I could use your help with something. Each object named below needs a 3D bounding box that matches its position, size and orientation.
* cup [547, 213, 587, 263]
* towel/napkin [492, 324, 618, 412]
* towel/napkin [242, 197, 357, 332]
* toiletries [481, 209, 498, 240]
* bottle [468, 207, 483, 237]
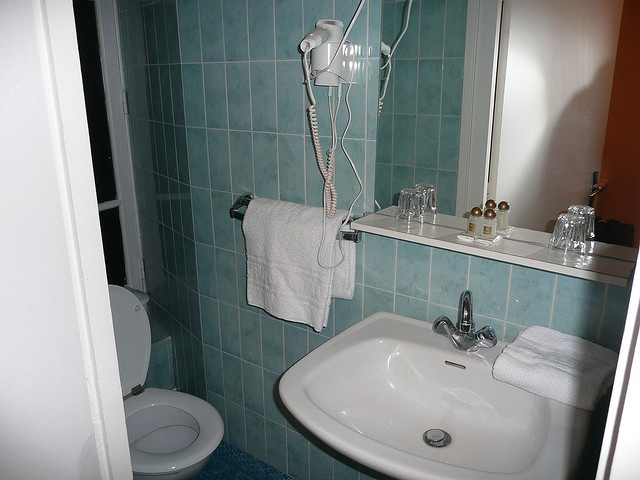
[{"bbox_3d":[0.679,-0.006,1.383,0.099,0.126,0.079,17,24,36],"label":"cup"},{"bbox_3d":[0.616,0.287,1.398,0.376,0.142,0.380,-3,8,-19],"label":"towel/napkin"},{"bbox_3d":[-0.107,0.069,1.897,0.447,0.413,0.200,11,18,27],"label":"towel/napkin"},{"bbox_3d":[0.494,-0.045,1.487,0.042,0.106,0.042,-17,28,-32],"label":"toiletries"},{"bbox_3d":[0.463,-0.052,1.506,0.037,0.082,0.030,3,17,5],"label":"bottle"}]
